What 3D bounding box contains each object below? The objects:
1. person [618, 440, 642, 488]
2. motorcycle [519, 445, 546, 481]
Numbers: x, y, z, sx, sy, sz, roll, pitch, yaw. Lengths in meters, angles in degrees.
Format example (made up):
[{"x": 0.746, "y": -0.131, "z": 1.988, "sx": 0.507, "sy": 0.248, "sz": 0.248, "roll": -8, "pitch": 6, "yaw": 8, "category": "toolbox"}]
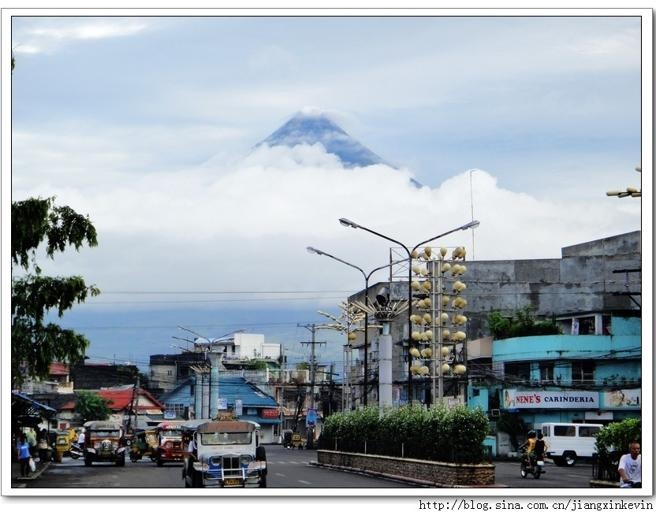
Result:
[{"x": 11.334, "y": 7.830, "z": 57.654, "sx": 0.797, "sy": 1.658, "sz": 0.485, "roll": 0, "pitch": -6, "yaw": 9, "category": "person"}, {"x": 9.759, "y": 9.585, "z": 72.708, "sx": 1.099, "sy": 1.321, "sz": 2.124, "roll": -10, "pitch": 1, "yaw": -12, "category": "motorcycle"}]
